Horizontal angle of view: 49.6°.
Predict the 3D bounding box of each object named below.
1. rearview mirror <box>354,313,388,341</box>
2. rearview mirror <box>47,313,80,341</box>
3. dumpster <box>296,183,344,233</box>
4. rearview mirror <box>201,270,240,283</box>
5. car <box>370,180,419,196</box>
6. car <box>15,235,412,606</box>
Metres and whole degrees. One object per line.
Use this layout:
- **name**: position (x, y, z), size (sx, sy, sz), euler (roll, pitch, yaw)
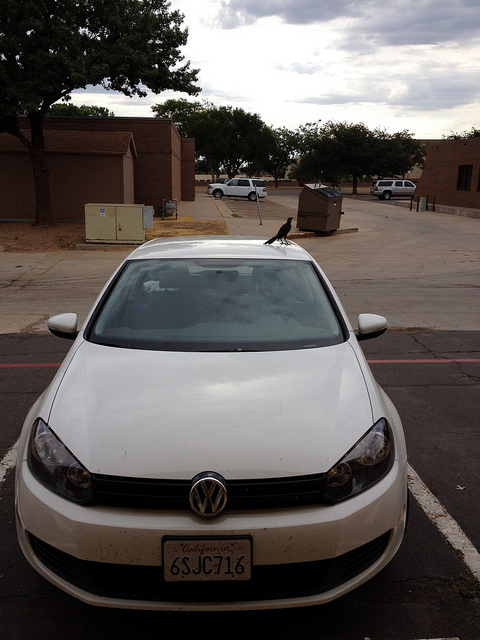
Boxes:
- **rearview mirror**: position (0.799, 0.061, 3.166), size (0.169, 0.169, 0.354), euler (4, 11, 13)
- **rearview mirror**: position (-1.060, 0.057, 3.123), size (0.158, 0.173, 0.319), euler (-2, 11, -19)
- **dumpster**: position (3.332, -4.703, 21.523), size (1.653, 2.013, 1.699), euler (9, 20, 21)
- **rearview mirror**: position (-0.123, -0.280, 3.274), size (0.237, 0.071, 0.061), euler (1, 11, -3)
- **car**: position (14.752, -12.701, 49.883), size (3.802, 1.629, 1.516), euler (-3, 11, -20)
- **car**: position (-0.083, 0.219, 2.799), size (1.192, 0.798, 2.348), euler (-1, 11, 2)
